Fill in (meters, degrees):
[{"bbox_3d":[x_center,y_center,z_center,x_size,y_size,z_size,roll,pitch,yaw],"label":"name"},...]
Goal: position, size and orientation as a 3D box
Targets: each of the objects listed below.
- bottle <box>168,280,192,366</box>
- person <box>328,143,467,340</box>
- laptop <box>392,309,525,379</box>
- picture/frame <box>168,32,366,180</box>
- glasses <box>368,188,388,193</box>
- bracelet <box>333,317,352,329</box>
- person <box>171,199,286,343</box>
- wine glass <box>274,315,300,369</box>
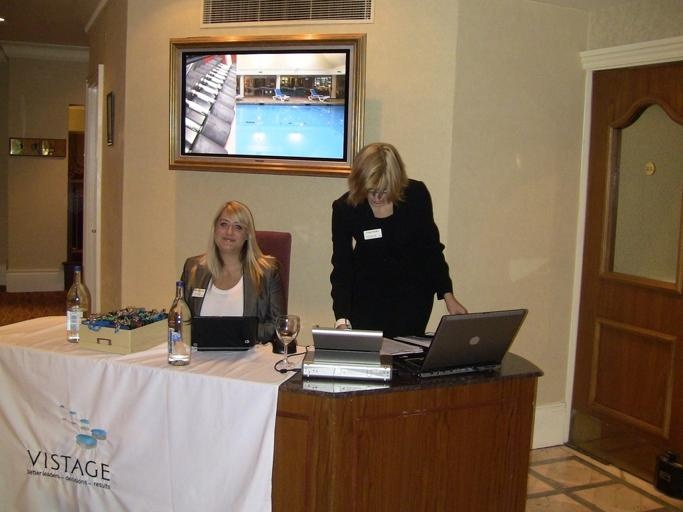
[{"bbox_3d":[-0.779,0.314,2.854,0.110,0.387,0.186,0,4,-16],"label":"bottle"},{"bbox_3d":[0.287,-0.072,3.370,0.692,1.103,0.331,2,4,-2],"label":"person"},{"bbox_3d":[0.566,0.394,2.661,0.367,0.281,0.387,-1,10,-18],"label":"laptop"},{"bbox_3d":[-0.474,-1.078,4.116,1.027,0.762,0.048,3,9,15],"label":"picture/frame"},{"bbox_3d":[0.196,-0.356,3.217,0.094,0.031,0.042,2,4,2],"label":"glasses"},{"bbox_3d":[0.004,0.335,2.951,0.058,0.052,0.050,7,-10,-30],"label":"bracelet"},{"bbox_3d":[-0.598,0.095,3.736,0.782,1.106,0.688,0,-3,-5],"label":"person"},{"bbox_3d":[-0.261,0.398,2.850,0.110,0.257,0.248,1,4,-6],"label":"wine glass"}]
